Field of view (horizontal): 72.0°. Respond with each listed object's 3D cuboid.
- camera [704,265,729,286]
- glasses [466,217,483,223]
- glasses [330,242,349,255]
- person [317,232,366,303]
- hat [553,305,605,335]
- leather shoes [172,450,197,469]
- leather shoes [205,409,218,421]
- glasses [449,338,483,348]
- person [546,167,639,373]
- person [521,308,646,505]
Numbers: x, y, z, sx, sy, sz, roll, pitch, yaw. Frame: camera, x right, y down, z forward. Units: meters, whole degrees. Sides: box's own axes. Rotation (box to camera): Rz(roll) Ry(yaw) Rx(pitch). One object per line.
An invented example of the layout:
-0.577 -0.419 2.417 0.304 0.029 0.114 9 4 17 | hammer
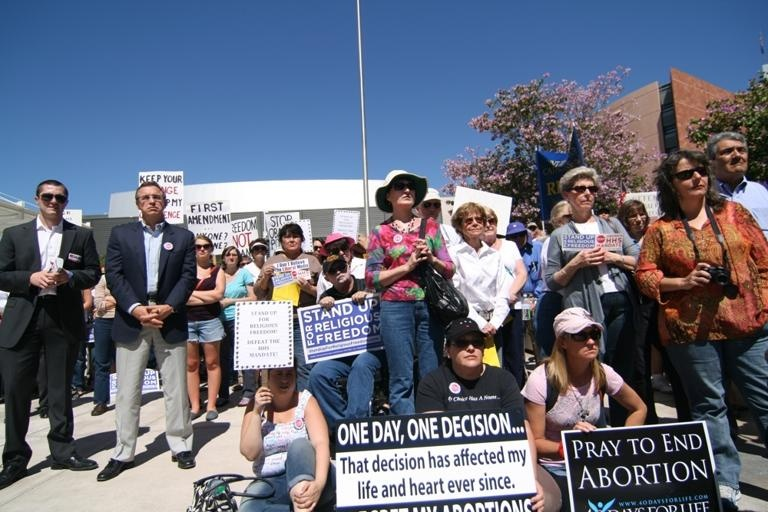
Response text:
3.159 0.165 5.054 0.211 0.208 0.165 2 12 15 | camera
1.155 -0.456 6.596 0.114 0.032 0.110 -2 -22 6 | glasses
-0.562 -0.100 6.740 0.176 0.072 0.179 -6 32 -1 | glasses
-0.543 0.164 6.766 0.548 0.939 0.545 -15 -5 41 | person
1.900 0.673 5.196 0.284 0.194 0.363 -2 -15 -36 | hat
-2.397 2.474 6.392 0.135 0.158 0.371 2 -10 -36 | leather shoes
-2.575 2.376 7.927 0.172 0.133 0.245 -4 4 -19 | leather shoes
0.811 0.854 5.278 0.343 0.129 0.126 -3 4 6 | glasses
2.383 0.473 5.885 1.034 2.862 0.910 -6 7 23 | person
1.917 1.346 5.159 1.054 1.633 0.495 -4 4 -17 | person
